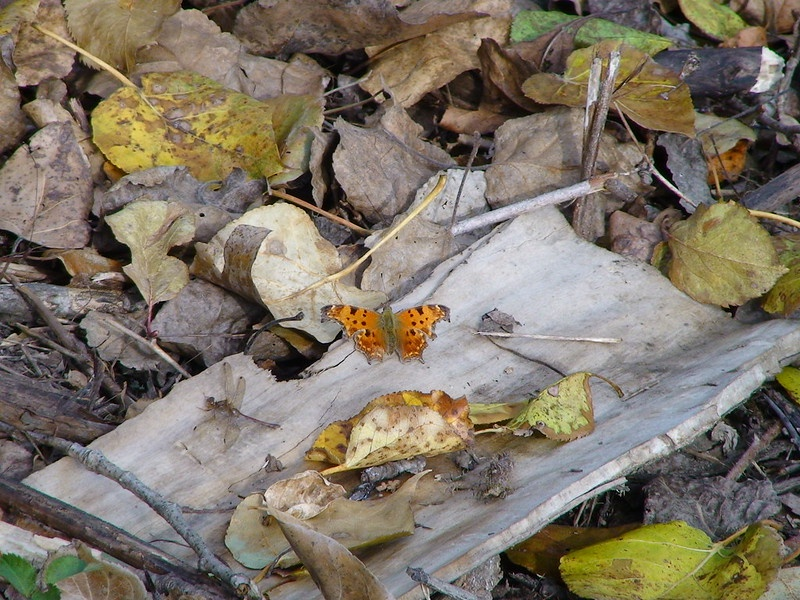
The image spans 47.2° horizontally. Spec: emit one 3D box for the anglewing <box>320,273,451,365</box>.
[{"bbox_3d":[-0.052,0.112,3.287,0.499,0.042,0.205,1,76,-27],"label":"anglewing"}]
